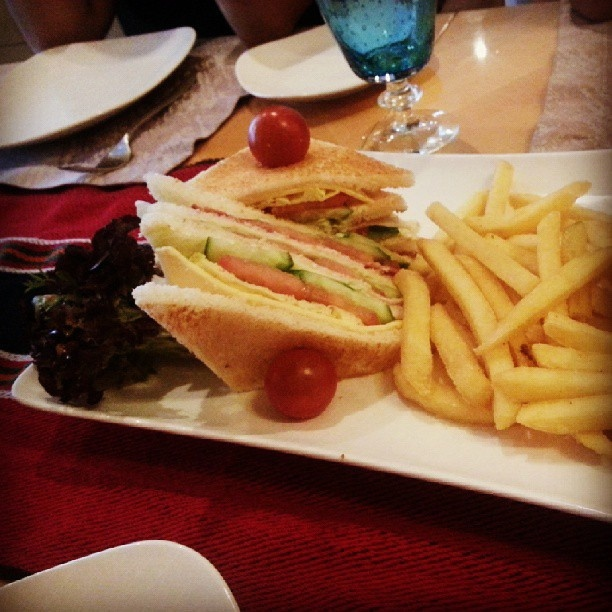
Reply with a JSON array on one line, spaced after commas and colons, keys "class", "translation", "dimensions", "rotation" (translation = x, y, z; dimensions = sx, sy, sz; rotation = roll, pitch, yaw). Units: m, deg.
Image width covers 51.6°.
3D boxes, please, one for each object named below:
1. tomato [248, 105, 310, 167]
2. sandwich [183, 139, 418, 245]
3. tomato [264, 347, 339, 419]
[{"class": "tomato", "translation": [-0.078, -0.512, 1.982], "dimensions": [0.249, 0.174, 0.198], "rotation": [-1, 6, 4]}, {"class": "sandwich", "translation": [0.049, -0.389, 1.965], "dimensions": [0.450, 0.120, 0.419], "rotation": [-18, 35, -36]}, {"class": "tomato", "translation": [-0.011, 0.196, 1.634], "dimensions": [0.235, 0.167, 0.193], "rotation": [-5, 9, -18]}]
